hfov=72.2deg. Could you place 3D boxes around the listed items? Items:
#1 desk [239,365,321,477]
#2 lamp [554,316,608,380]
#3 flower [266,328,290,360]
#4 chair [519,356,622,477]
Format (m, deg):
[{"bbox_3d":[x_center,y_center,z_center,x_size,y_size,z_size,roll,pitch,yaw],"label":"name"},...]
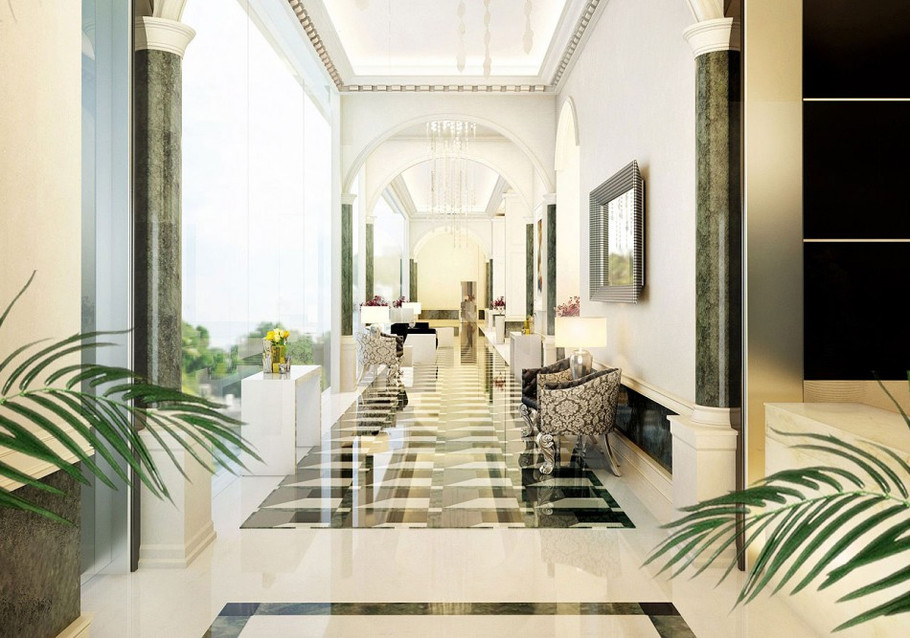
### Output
[{"bbox_3d":[-1.849,1.065,6.570,0.345,0.776,1.257,0,1,-2],"label":"desk"},{"bbox_3d":[1.459,0.345,7.155,0.750,0.746,0.804,-2,-2,0],"label":"lamp"},{"bbox_3d":[-1.939,0.267,6.798,0.229,0.289,0.348,-2,6,-19],"label":"flower"},{"bbox_3d":[1.193,1.095,7.101,1.054,1.396,0.985,1,-3,-5],"label":"chair"}]
